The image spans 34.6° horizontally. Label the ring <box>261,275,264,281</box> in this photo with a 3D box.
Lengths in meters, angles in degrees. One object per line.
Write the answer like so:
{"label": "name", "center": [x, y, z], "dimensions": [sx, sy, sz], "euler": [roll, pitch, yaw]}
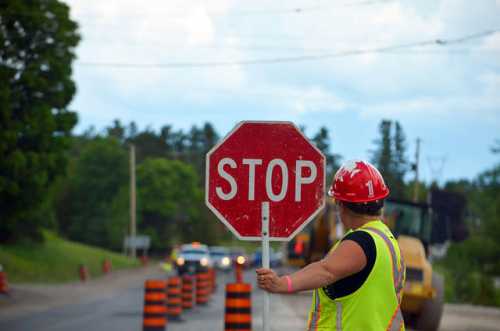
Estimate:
{"label": "ring", "center": [0.149, 1.247, 8.931], "dimensions": [0.029, 0.052, 0.012], "euler": [3, 2, 22]}

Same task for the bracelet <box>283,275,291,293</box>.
{"label": "bracelet", "center": [0.425, 1.299, 8.883], "dimensions": [0.075, 0.187, 0.181], "euler": [2, -13, 1]}

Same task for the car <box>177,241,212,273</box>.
{"label": "car", "center": [-2.003, 3.411, 29.771], "dimensions": [1.024, 1.300, 2.714], "euler": [-1, -14, 0]}
